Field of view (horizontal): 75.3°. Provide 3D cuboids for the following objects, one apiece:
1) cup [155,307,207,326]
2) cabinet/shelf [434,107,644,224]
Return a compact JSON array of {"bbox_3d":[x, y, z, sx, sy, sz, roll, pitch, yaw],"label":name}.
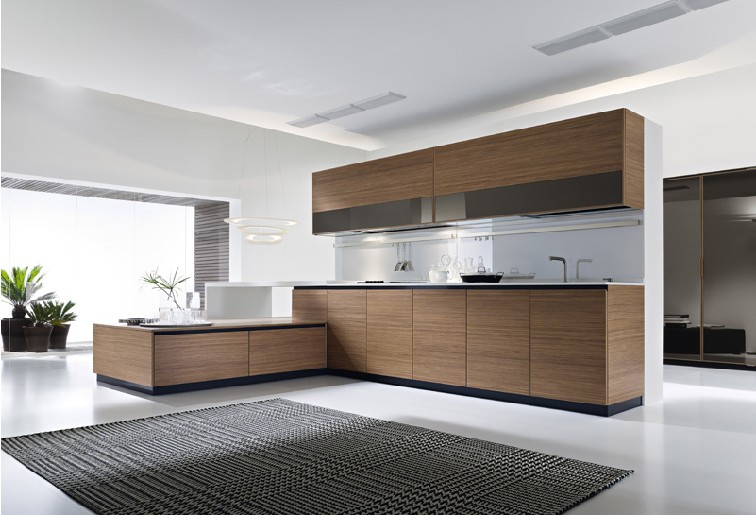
[{"bbox_3d":[-2.208,0.653,5.486,0.403,0.117,0.270,1,-3,-15],"label":"cup"},{"bbox_3d":[1.778,-0.951,5.838,0.812,0.939,2.807,7,-3,-34],"label":"cabinet/shelf"}]
